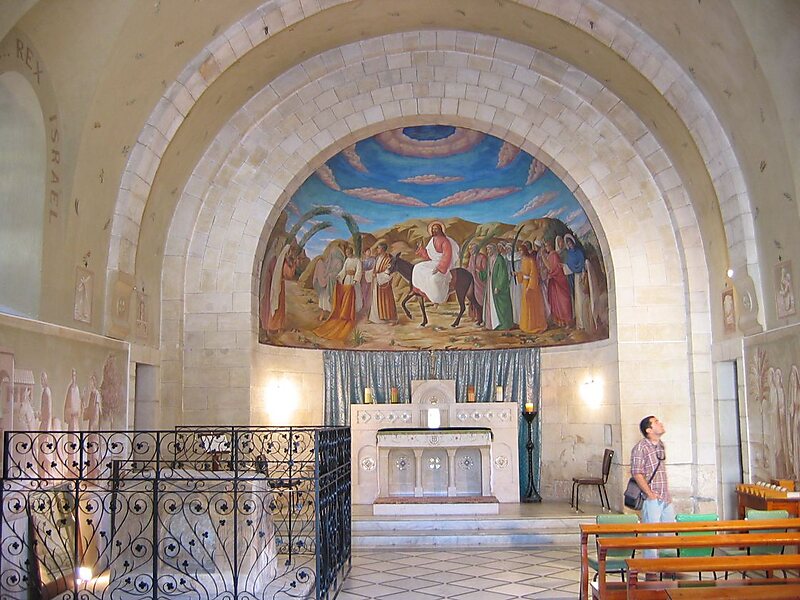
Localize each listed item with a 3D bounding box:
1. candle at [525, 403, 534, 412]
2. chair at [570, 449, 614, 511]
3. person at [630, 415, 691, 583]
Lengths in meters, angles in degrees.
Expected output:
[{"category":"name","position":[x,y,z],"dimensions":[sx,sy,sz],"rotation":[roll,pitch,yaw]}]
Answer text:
[{"category":"candle","position":[2.927,2.409,14.911],"dimensions":[0.158,0.198,0.168],"rotation":[0,-8,3]},{"category":"chair","position":[4.030,3.758,14.000],"dimensions":[0.890,1.178,1.202],"rotation":[-3,-12,6]},{"category":"person","position":[3.596,2.769,9.325],"dimensions":[0.692,2.238,0.472],"rotation":[8,-15,-19]}]
